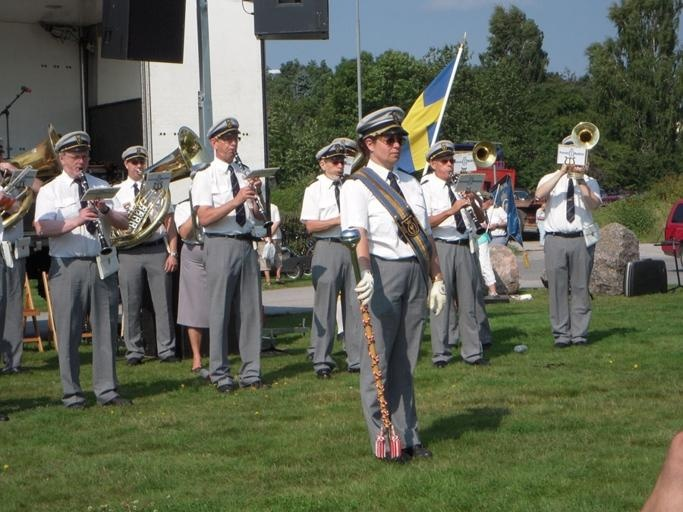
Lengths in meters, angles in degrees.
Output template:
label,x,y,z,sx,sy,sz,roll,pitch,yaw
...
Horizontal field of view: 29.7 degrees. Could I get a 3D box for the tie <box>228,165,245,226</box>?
label,x,y,z,sx,sy,sz,roll,pitch,yaw
tie,-1.459,-0.853,18.108,0.158,0.868,0.284,-4,3,-24

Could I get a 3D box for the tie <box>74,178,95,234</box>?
label,x,y,z,sx,sy,sz,roll,pitch,yaw
tie,-3.452,-0.731,17.382,0.156,0.837,0.199,-2,-24,-3

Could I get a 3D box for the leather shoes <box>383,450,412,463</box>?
label,x,y,z,sx,sy,sz,roll,pitch,yaw
leather shoes,0.714,2.439,15.769,0.378,0.178,0.132,7,-9,-16

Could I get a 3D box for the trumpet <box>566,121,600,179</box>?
label,x,y,z,sx,sy,sz,roll,pitch,yaw
trumpet,3.736,-1.682,19.661,0.276,0.735,0.221,3,9,45

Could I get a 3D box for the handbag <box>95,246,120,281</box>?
label,x,y,z,sx,sy,sz,roll,pitch,yaw
handbag,-3.144,0.105,17.369,0.351,0.379,0.105,-23,15,-40

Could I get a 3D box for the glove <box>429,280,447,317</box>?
label,x,y,z,sx,sy,sz,roll,pitch,yaw
glove,1.188,0.516,15.821,0.210,0.409,0.108,7,-5,7

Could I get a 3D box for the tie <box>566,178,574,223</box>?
label,x,y,z,sx,sy,sz,roll,pitch,yaw
tie,3.471,-0.846,19.482,0.143,0.660,0.173,-2,2,11

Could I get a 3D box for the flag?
label,x,y,z,sx,sy,sz,roll,pitch,yaw
flag,1.575,-2.423,23.124,0.822,2.699,0.973,0,8,-10

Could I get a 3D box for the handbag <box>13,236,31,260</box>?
label,x,y,z,sx,sy,sz,roll,pitch,yaw
handbag,-4.675,-0.137,18.817,0.091,0.307,0.316,-6,1,25

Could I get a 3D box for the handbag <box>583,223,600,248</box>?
label,x,y,z,sx,sy,sz,roll,pitch,yaw
handbag,3.763,-0.330,19.455,0.343,0.333,0.092,-5,0,-43

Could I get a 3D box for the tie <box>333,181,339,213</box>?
label,x,y,z,sx,sy,sz,roll,pitch,yaw
tie,-0.055,-0.881,18.997,0.058,0.459,0.048,-1,-4,5

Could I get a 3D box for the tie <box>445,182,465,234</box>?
label,x,y,z,sx,sy,sz,roll,pitch,yaw
tie,1.683,-0.721,18.887,0.060,0.743,0.183,-15,-5,-33

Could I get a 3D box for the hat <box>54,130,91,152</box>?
label,x,y,z,sx,sy,sz,roll,pitch,yaw
hat,-3.668,-1.554,17.499,0.464,0.278,0.301,-3,3,-1

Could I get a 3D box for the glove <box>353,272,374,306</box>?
label,x,y,z,sx,sy,sz,roll,pitch,yaw
glove,0.293,0.364,15.490,0.250,0.404,0.215,-3,3,-13

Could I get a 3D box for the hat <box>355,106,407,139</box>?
label,x,y,z,sx,sy,sz,roll,pitch,yaw
hat,0.488,-1.633,15.779,0.600,0.374,0.342,-3,3,-3

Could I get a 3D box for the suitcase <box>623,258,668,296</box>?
label,x,y,z,sx,sy,sz,roll,pitch,yaw
suitcase,5.825,0.387,24.673,0.973,0.651,0.384,-5,3,-36

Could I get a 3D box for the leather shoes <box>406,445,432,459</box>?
label,x,y,z,sx,sy,sz,roll,pitch,yaw
leather shoes,0.947,2.387,15.810,0.277,0.124,0.139,-3,-1,12
